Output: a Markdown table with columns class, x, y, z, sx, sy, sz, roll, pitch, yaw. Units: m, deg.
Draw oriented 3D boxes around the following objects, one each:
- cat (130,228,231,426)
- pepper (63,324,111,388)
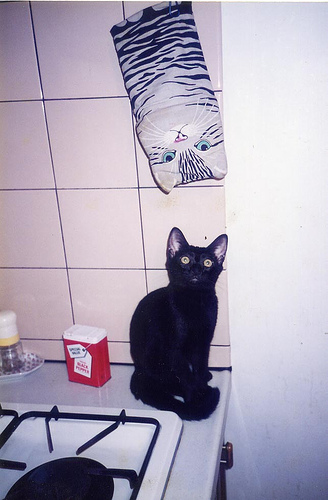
| class | x | y | z | sx | sy | sz | roll | pitch | yaw |
| --- | --- | --- | --- | --- | --- | --- | --- | --- | --- |
| cat | 0.016 | 0.158 | 0.899 | 0.227 | 0.332 | 0.272 | 0 | 25 | 7 |
| pepper | -0.180 | 0.242 | 1.005 | 0.089 | 0.114 | 0.063 | 1 | 9 | 12 |
